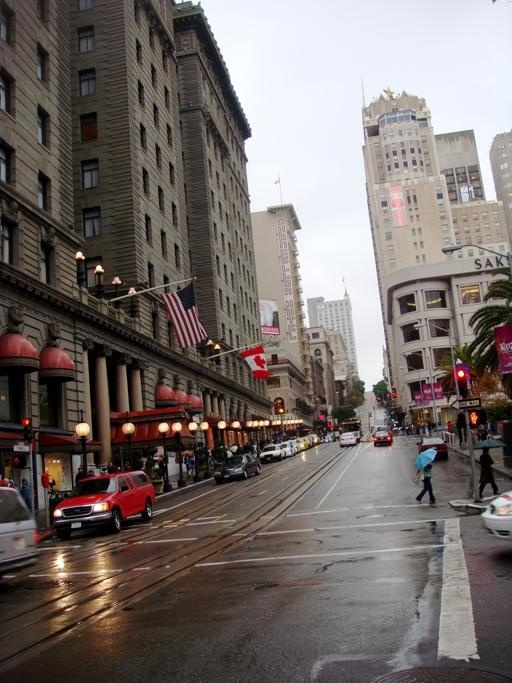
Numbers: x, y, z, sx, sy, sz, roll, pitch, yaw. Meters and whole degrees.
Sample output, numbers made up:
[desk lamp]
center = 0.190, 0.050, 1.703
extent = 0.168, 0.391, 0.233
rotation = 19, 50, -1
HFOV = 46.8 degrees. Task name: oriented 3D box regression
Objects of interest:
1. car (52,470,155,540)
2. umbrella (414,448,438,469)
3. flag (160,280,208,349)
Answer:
[car]
center = -5.132, 5.635, 20.864
extent = 1.967, 1.470, 3.772
rotation = -9, -15, 13
[umbrella]
center = 5.270, 3.700, 18.432
extent = 0.634, 0.649, 1.709
rotation = -10, -11, 13
[flag]
center = -5.050, -1.657, 39.862
extent = 2.807, 4.353, 2.182
rotation = -5, -1, 6
